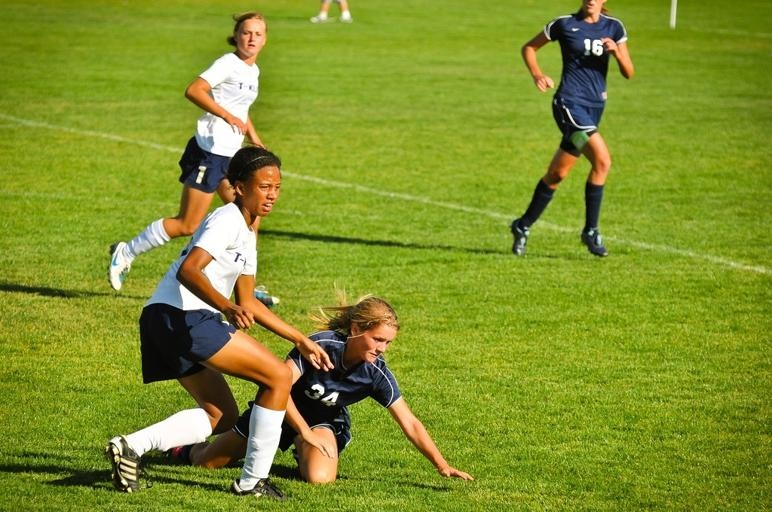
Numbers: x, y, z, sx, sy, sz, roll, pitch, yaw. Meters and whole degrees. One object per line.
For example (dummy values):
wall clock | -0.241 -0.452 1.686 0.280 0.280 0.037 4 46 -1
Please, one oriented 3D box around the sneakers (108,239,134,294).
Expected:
sneakers | -2.875 0.132 12.026 0.310 0.574 0.212 -4 -12 14

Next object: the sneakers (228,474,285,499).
sneakers | -1.098 2.018 9.527 0.546 0.209 0.176 5 18 -11

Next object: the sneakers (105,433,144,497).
sneakers | -2.215 1.793 9.407 0.212 0.547 0.255 -6 25 29

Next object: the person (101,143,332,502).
person | -1.440 0.568 9.423 1.557 2.969 0.735 4 13 -4

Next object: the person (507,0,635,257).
person | 2.236 -1.507 13.092 1.174 3.054 0.756 7 13 9

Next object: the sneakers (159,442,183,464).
sneakers | -1.934 1.791 9.937 0.213 0.116 0.162 -13 -6 37

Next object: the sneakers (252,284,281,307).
sneakers | -1.379 0.454 12.188 0.395 0.157 0.130 24 23 12

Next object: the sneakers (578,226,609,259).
sneakers | 2.491 -0.157 13.020 0.177 0.246 0.485 -24 51 -27

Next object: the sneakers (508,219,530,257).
sneakers | 1.600 -0.223 13.194 0.181 0.466 0.220 -2 13 -4
